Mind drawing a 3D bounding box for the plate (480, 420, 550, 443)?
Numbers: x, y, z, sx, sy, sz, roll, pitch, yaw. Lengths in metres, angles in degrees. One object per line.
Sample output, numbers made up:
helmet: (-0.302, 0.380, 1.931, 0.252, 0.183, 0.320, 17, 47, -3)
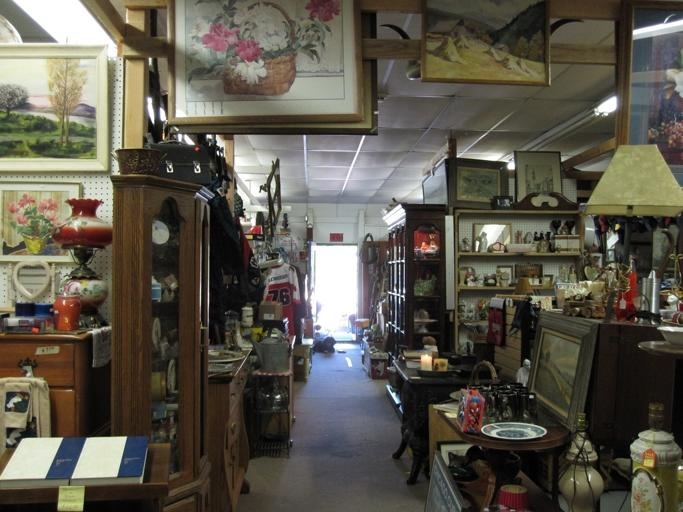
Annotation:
plate: (1.001, 1.023, 3.502, 0.370, 0.039, 0.252, 0, 2, 7)

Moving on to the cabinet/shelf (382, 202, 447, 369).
cabinet/shelf: (0.991, 0.353, 8.017, 0.742, 2.068, 1.407, 0, 2, 4)

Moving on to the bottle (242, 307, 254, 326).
bottle: (-0.954, 0.610, 6.056, 0.105, 0.199, 0.097, 0, 2, 0)

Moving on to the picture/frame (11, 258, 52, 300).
picture/frame: (-2.140, 0.166, 4.172, 0.274, 0.262, 0.031, 0, -2, 5)

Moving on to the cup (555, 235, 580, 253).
cup: (2.865, -0.150, 7.649, 0.349, 0.243, 0.200, 0, -3, -2)

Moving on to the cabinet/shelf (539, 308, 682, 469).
cabinet/shelf: (1.654, 0.657, 4.006, 0.651, 1.298, 1.052, 1, -1, -7)

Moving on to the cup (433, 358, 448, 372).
cup: (0.922, 1.016, 5.603, 0.103, 0.097, 0.104, 0, 2, 0)

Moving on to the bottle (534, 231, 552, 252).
bottle: (2.564, -0.169, 7.695, 0.235, 0.405, 0.267, 0, -2, 16)

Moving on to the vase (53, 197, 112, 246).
vase: (-1.638, -0.207, 3.889, 0.314, 0.278, 0.319, 1, 1, -1)

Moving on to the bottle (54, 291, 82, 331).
bottle: (-1.693, 0.353, 3.700, 0.138, 0.210, 0.108, 0, 2, 13)

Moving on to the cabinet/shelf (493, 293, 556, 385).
cabinet/shelf: (1.470, 0.698, 4.914, 0.348, 0.667, 0.682, 1, -3, 1)

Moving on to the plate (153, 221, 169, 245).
plate: (-1.068, -0.139, 3.570, 0.016, 0.147, 0.119, 1, 2, 28)

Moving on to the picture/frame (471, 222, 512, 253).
picture/frame: (1.950, -0.227, 7.820, 0.384, 0.290, 0.052, 1, -23, -2)
